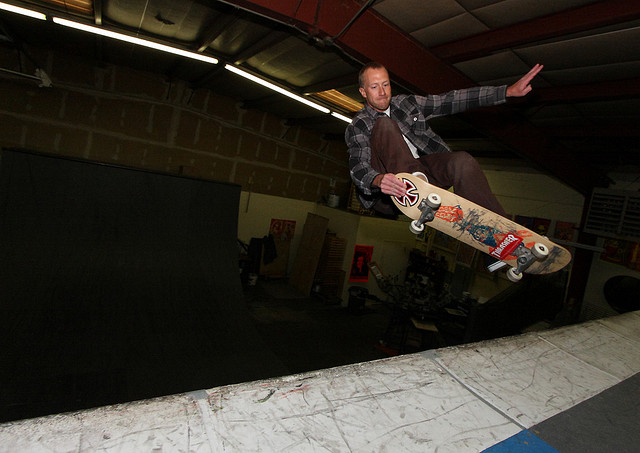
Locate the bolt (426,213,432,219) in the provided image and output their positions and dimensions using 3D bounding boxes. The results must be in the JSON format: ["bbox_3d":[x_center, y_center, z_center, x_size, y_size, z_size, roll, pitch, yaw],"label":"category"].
[{"bbox_3d":[0.992,-0.096,3.817,0.056,0.053,0.016,5,9,-17],"label":"bolt"}]
